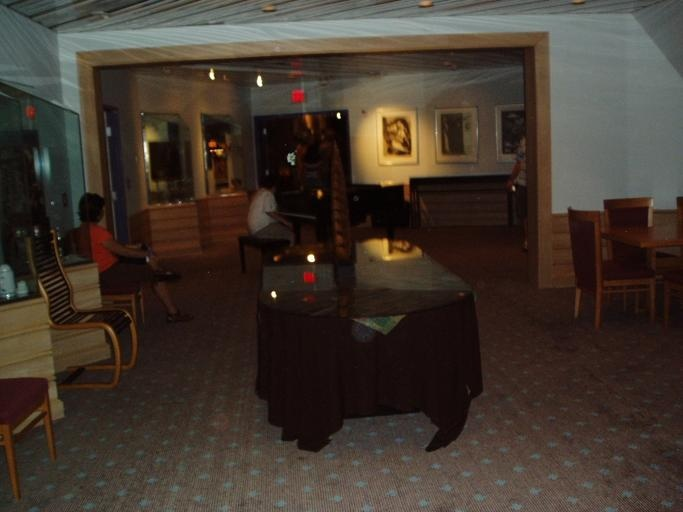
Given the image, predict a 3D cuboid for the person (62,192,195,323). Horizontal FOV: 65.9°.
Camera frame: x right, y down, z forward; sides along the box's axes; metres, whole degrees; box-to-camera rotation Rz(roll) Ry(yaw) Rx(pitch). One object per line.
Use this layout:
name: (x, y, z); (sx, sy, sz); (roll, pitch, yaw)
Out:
person: (-2.352, 0.190, 5.542); (0.885, 1.337, 0.760); (-12, -4, 12)

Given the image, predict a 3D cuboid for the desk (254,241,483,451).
desk: (0.152, 0.452, 3.477); (1.060, 0.644, 1.312); (-2, 13, -3)

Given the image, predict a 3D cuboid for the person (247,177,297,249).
person: (-1.068, -0.639, 7.967); (0.705, 1.086, 0.600); (6, -5, -24)

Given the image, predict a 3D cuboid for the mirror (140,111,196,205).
mirror: (-3.286, -1.869, 10.098); (0.340, 1.681, 1.126); (5, 14, 36)
